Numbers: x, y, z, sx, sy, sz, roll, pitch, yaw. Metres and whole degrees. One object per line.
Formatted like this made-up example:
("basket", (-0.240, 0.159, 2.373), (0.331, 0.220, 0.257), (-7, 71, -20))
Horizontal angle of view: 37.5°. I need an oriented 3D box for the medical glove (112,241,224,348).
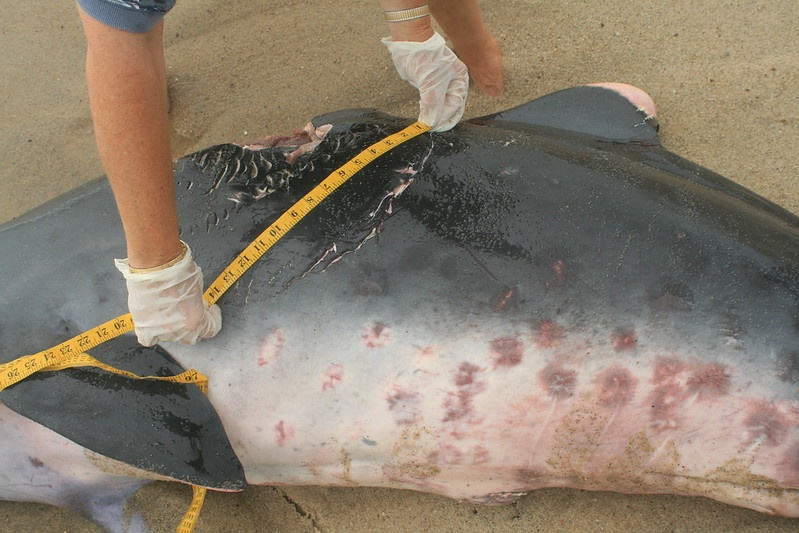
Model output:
("medical glove", (-1.425, 0.223, 7.268), (0.555, 0.644, 0.373), (-19, 34, -10))
